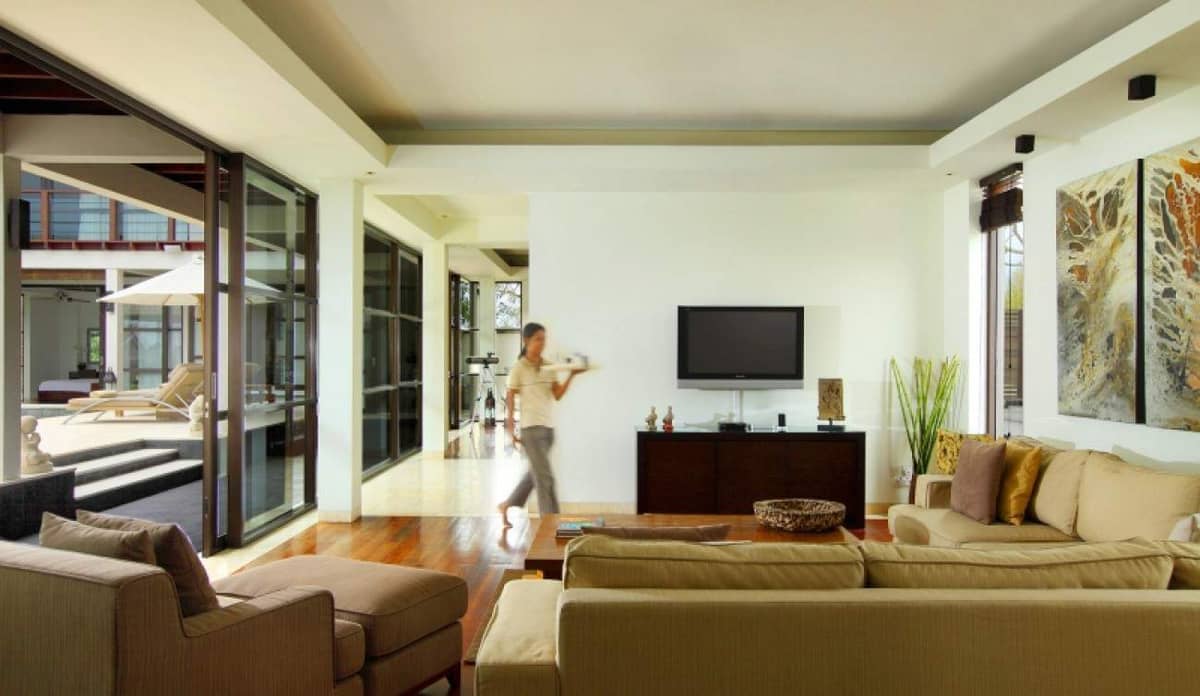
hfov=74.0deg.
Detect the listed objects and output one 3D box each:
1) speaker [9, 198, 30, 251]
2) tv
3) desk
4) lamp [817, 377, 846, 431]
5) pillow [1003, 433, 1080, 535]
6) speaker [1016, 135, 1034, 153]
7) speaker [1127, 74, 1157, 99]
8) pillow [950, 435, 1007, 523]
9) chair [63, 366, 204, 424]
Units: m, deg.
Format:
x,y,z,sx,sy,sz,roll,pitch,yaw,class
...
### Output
x,y,z,sx,sy,sz,roll,pitch,yaw,class
-4.463,-0.945,6.069,0.112,0.374,0.153,2,-1,-5,speaker
1.383,0.017,7.751,0.932,0.554,0.089,0,1,1,tv
1.487,1.254,7.692,2.291,0.881,0.713,-4,-9,29,desk
2.253,0.538,7.730,0.274,0.482,0.452,1,-1,16,lamp
3.320,1.026,5.912,0.236,0.562,0.594,18,1,-18,pillow
3.525,-1.675,6.585,0.180,0.157,0.127,0,-2,20,speaker
3.915,-1.866,5.720,0.182,0.145,0.244,1,-1,34,speaker
3.007,1.029,6.252,0.272,0.634,0.692,15,-2,2,pillow
-7.161,0.745,12.101,1.271,0.523,0.900,2,-3,-6,chair
